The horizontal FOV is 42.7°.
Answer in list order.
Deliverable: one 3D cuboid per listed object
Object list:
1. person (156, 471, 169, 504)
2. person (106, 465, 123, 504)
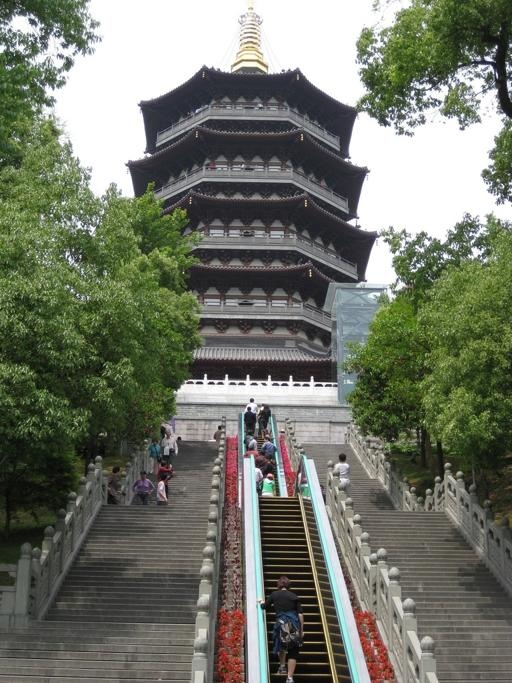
[{"bbox_3d":[-2.094,3.353,14.682,0.229,0.813,0.571,6,-42,-8],"label":"person"},{"bbox_3d":[-3.169,3.285,14.783,0.344,0.977,0.667,8,-42,-11],"label":"person"}]
